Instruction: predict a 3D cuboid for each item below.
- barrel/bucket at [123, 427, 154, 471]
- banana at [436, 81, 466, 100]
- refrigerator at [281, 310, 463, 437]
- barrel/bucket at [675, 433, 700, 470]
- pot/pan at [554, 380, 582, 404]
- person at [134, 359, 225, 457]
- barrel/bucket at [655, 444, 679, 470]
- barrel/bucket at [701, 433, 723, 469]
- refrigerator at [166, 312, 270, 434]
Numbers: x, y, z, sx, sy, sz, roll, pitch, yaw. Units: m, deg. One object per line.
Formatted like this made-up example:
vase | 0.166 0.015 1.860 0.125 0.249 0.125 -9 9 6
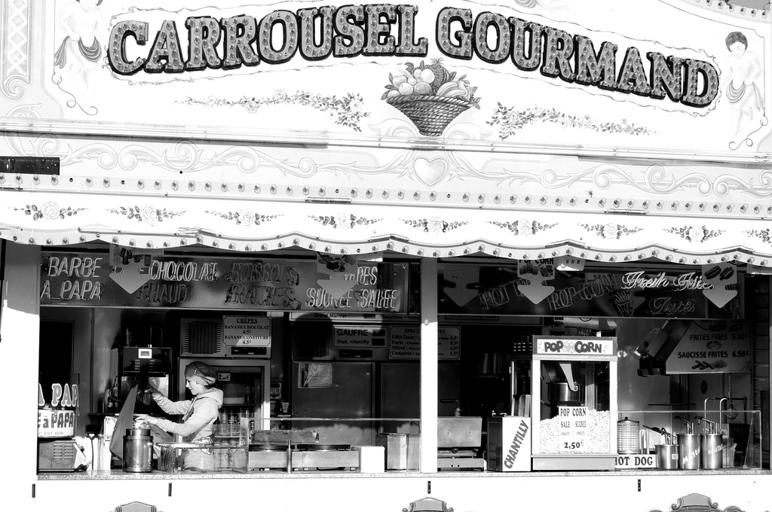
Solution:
barrel/bucket | -3.489 2.724 24.164 0.424 0.648 0.309 4 -13 -12
banana | 0.916 -2.345 24.410 0.421 0.220 0.042 3 -13 -11
refrigerator | -0.387 1.863 27.403 2.106 1.997 0.812 1 -2 -5
barrel/bucket | 4.451 2.885 25.367 0.346 0.542 0.280 -1 -12 8
pot/pan | 2.628 1.986 25.160 0.345 0.317 0.344 3 -4 -41
person | -3.013 2.165 24.940 0.879 1.259 0.966 5 -7 -35
barrel/bucket | 4.111 2.943 25.294 0.338 0.341 0.341 0 -1 0
barrel/bucket | 4.828 2.860 25.589 0.367 0.563 0.359 -3 12 1
refrigerator | -2.628 2.301 27.802 1.517 2.633 0.890 0 -2 -5
